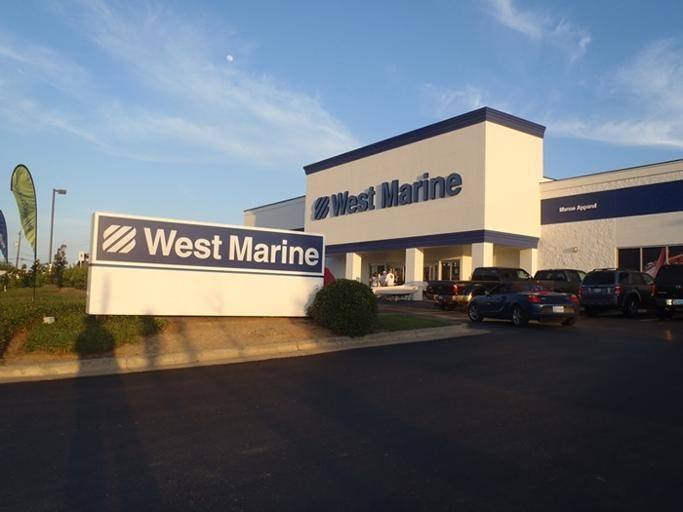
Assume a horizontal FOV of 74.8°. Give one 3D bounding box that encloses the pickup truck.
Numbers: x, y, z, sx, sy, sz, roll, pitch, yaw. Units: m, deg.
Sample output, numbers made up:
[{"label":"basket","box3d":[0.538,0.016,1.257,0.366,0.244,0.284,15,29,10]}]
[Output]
[{"label":"pickup truck","box3d":[7.457,2.048,23.152,4.850,1.844,2.527,-6,4,-20]}]
